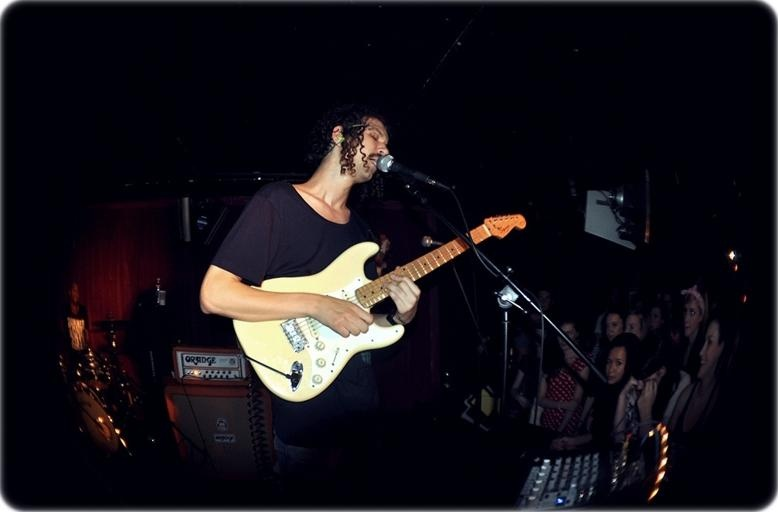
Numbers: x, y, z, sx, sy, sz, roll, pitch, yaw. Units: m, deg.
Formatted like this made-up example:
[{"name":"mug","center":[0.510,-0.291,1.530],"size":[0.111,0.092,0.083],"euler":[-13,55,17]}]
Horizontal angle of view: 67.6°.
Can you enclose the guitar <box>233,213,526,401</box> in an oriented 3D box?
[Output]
[{"name":"guitar","center":[-0.055,0.320,4.777],"size":[2.431,0.896,0.283],"euler":[-28,3,-13]}]

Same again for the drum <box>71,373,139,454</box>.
[{"name":"drum","center":[-2.455,1.421,5.095],"size":[0.405,0.744,0.154],"euler":[-9,7,24]}]

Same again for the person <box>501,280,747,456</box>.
[{"name":"person","center":[2.461,1.058,5.341],"size":[1.523,1.553,0.527],"euler":[1,8,-15]}]

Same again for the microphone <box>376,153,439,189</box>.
[{"name":"microphone","center":[0.151,-0.643,4.380],"size":[0.486,0.202,0.305],"euler":[5,8,12]}]

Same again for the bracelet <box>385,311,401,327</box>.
[{"name":"bracelet","center":[0.028,0.487,4.483],"size":[0.116,0.072,0.118],"euler":[-21,-3,15]}]
